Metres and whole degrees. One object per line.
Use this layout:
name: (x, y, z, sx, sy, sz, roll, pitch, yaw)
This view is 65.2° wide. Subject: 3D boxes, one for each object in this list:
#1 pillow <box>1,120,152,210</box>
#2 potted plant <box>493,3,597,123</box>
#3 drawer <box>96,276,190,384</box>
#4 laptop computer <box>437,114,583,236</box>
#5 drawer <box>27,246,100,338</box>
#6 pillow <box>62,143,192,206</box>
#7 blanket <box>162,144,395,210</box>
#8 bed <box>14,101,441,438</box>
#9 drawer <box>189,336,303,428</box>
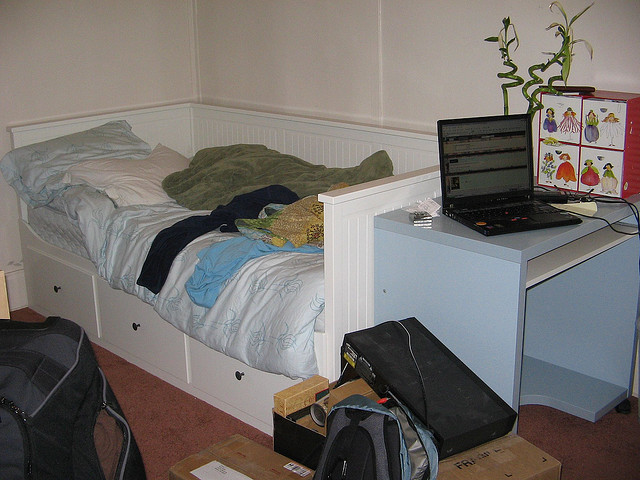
pillow: (-1.639, -0.518, 3.467, 0.877, 0.204, 0.513, -27, 69, -32)
potted plant: (1.041, -0.867, 2.482, 0.353, 0.557, 0.498, -17, 21, -39)
drawer: (-0.935, 0.481, 2.685, 0.488, 0.304, 0.269, 17, 21, 30)
laptop computer: (0.744, -0.269, 1.936, 0.475, 0.358, 0.413, -6, 20, -12)
drawer: (-1.450, 0.270, 2.856, 0.476, 0.295, 0.262, 15, 21, 37)
pillow: (-1.189, -0.419, 3.228, 0.492, 0.114, 0.447, -12, 42, -45)
blanket: (-0.330, -0.417, 3.157, 1.031, 0.243, 0.640, 5, 17, 30)
bed: (-0.665, 0.015, 3.154, 2.439, 1.196, 1.472, 18, 26, 28)
drawer: (-0.318, 0.632, 2.235, 0.437, 0.266, 0.145, 14, 22, 36)
